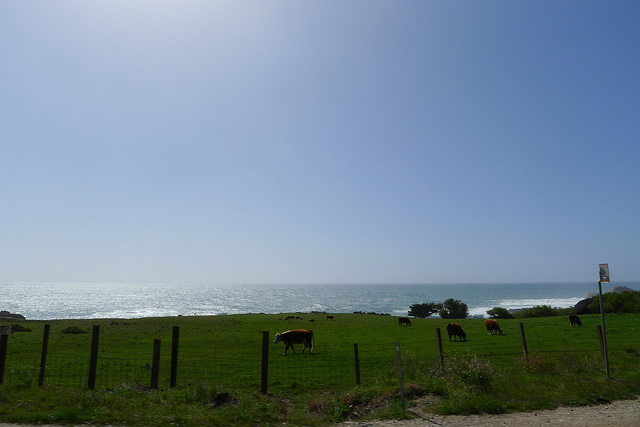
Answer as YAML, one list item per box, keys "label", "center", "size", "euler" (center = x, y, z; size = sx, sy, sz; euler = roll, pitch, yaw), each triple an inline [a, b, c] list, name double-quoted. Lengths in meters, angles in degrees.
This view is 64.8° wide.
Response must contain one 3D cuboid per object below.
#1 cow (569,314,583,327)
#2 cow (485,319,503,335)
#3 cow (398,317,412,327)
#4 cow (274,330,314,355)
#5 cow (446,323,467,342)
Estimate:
- label: "cow"
  center: [27.918, 11.506, 54.487]
  size: [1.193, 1.294, 2.227]
  euler: [-7, -15, 25]
- label: "cow"
  center: [18.422, 11.865, 52.911]
  size: [1.420, 1.564, 2.975]
  euler: [-6, -14, 18]
- label: "cow"
  center: [10.865, 13.771, 64.350]
  size: [1.389, 1.061, 2.553]
  euler: [-2, -14, 6]
- label: "cow"
  center: [-2.062, 10.852, 42.791]
  size: [2.805, 1.919, 3.623]
  euler: [0, -14, -5]
- label: "cow"
  center: [13.532, 11.642, 49.710]
  size: [1.559, 1.735, 3.676]
  euler: [-4, -14, 13]
